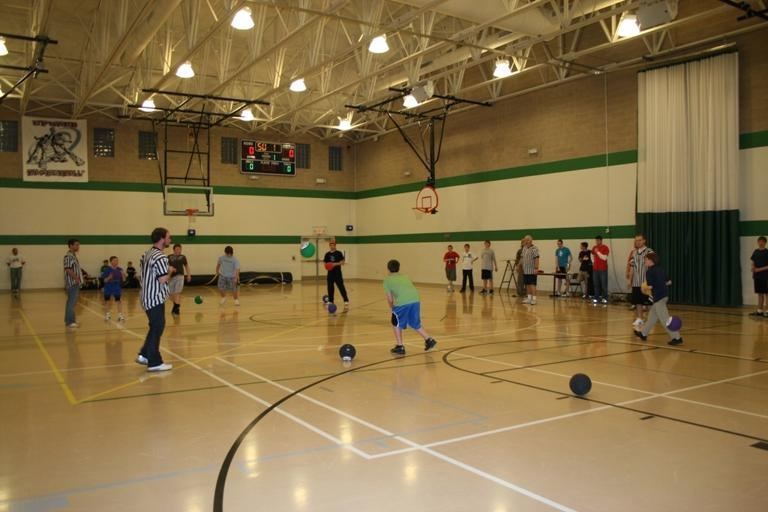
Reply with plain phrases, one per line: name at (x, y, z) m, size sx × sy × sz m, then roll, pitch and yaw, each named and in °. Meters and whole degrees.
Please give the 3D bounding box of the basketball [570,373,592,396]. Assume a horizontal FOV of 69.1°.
basketball at (2.921, 1.915, 8.319) m, size 0.296 × 0.313 × 0.275 m, roll 2°, pitch 7°, yaw 20°

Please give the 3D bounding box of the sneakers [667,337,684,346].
sneakers at (5.803, 1.712, 11.089) m, size 0.259 × 0.182 × 0.143 m, roll 2°, pitch -3°, yaw 9°

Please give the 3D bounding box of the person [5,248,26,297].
person at (-14.905, 0.580, 22.557) m, size 0.589 × 1.761 × 0.824 m, roll -5°, pitch 8°, yaw -32°

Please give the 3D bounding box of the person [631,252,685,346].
person at (5.509, 0.888, 11.286) m, size 0.622 × 1.800 × 0.943 m, roll -5°, pitch 1°, yaw -32°

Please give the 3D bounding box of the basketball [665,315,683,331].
basketball at (5.765, 1.376, 11.018) m, size 0.363 × 0.320 × 0.181 m, roll -5°, pitch 8°, yaw -32°

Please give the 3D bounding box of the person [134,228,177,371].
person at (-3.922, 0.747, 9.459) m, size 0.617 × 2.414 × 0.651 m, roll -4°, pitch 8°, yaw -26°

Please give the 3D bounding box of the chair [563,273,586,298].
chair at (6.536, 1.004, 19.029) m, size 0.808 × 1.196 × 0.789 m, roll -1°, pitch -2°, yaw 27°

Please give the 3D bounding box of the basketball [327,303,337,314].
basketball at (-1.433, 1.493, 15.503) m, size 0.242 × 0.303 × 0.242 m, roll -6°, pitch 11°, yaw -35°

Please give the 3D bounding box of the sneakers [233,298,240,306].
sneakers at (-4.581, 1.455, 17.289) m, size 0.148 × 0.205 × 0.453 m, roll -1°, pitch -4°, yaw -18°

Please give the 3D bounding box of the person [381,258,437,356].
person at (0.478, 0.951, 10.906) m, size 0.913 × 1.893 × 1.538 m, roll 0°, pitch 7°, yaw 5°

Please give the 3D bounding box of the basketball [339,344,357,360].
basketball at (-0.662, 1.754, 10.083) m, size 0.284 × 0.274 × 0.249 m, roll -2°, pitch 7°, yaw -9°

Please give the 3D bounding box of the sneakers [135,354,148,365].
sneakers at (-4.207, 1.816, 9.663) m, size 0.352 × 0.166 × 0.138 m, roll 1°, pitch -4°, yaw 12°

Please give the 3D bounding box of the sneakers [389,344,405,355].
sneakers at (0.250, 1.795, 10.570) m, size 0.140 × 0.110 × 0.239 m, roll 3°, pitch -3°, yaw -42°

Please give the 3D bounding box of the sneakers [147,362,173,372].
sneakers at (-3.841, 1.908, 9.531) m, size 0.410 × 0.181 × 0.152 m, roll 0°, pitch 2°, yaw -21°

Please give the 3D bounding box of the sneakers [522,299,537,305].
sneakers at (4.510, 1.442, 17.267) m, size 0.456 × 0.211 × 0.172 m, roll 3°, pitch -2°, yaw -9°

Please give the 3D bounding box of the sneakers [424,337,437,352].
sneakers at (0.892, 1.713, 10.773) m, size 0.225 × 0.149 × 0.338 m, roll 13°, pitch -21°, yaw 4°
